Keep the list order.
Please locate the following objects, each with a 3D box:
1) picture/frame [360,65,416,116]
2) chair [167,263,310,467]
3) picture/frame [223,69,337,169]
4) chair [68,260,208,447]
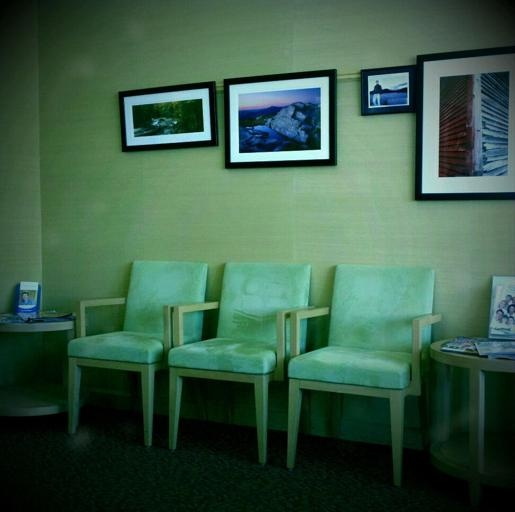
[{"bbox_3d":[0.633,-0.792,2.446,0.252,0.215,0.019,1,5,24],"label":"picture/frame"},{"bbox_3d":[-0.070,0.464,2.481,0.559,0.848,0.603,0,-4,24],"label":"chair"},{"bbox_3d":[0.140,-0.710,2.643,0.545,0.433,0.022,1,4,24],"label":"picture/frame"},{"bbox_3d":[-0.604,0.471,2.708,0.627,0.885,0.621,1,-1,13],"label":"chair"}]
